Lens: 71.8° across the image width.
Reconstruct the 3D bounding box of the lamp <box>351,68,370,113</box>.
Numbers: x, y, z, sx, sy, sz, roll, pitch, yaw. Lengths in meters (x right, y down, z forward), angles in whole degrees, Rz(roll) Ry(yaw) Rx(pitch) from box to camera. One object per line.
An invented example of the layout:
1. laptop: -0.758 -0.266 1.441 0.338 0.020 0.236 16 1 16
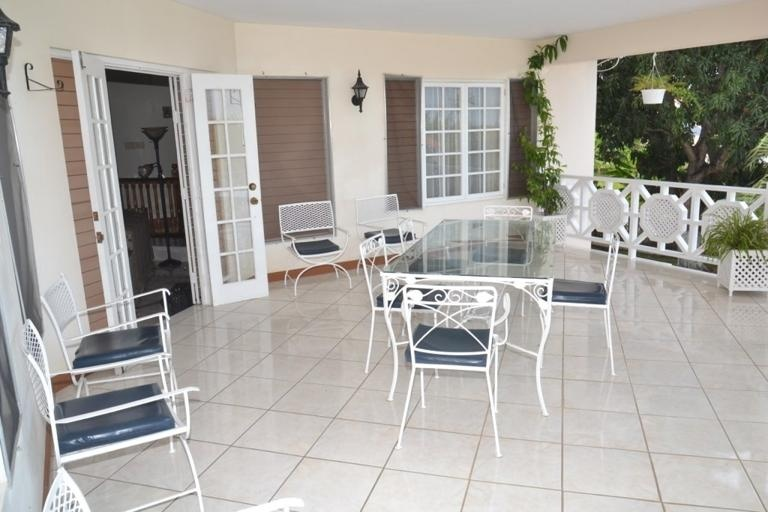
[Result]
1. lamp: -0.318 -2.241 7.264 0.274 0.554 0.241 -7 14 -15
